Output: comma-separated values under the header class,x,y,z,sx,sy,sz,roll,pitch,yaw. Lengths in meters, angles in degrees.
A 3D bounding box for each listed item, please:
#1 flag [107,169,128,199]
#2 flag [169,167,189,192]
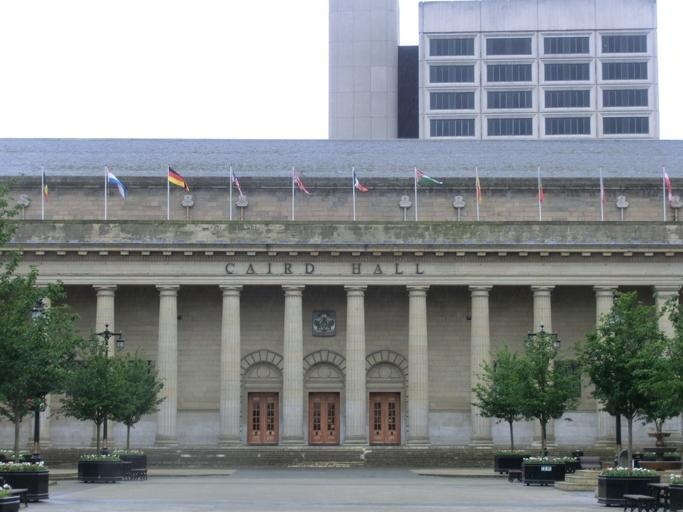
class,x,y,z,sx,sy,sz,roll,pitch,yaw
flag,-16.368,-4.995,163.680,0.281,3.013,2.464,-7,-4,32
flag,-11.892,-5.390,163.430,1.741,2.222,0.250,23,-63,-25
